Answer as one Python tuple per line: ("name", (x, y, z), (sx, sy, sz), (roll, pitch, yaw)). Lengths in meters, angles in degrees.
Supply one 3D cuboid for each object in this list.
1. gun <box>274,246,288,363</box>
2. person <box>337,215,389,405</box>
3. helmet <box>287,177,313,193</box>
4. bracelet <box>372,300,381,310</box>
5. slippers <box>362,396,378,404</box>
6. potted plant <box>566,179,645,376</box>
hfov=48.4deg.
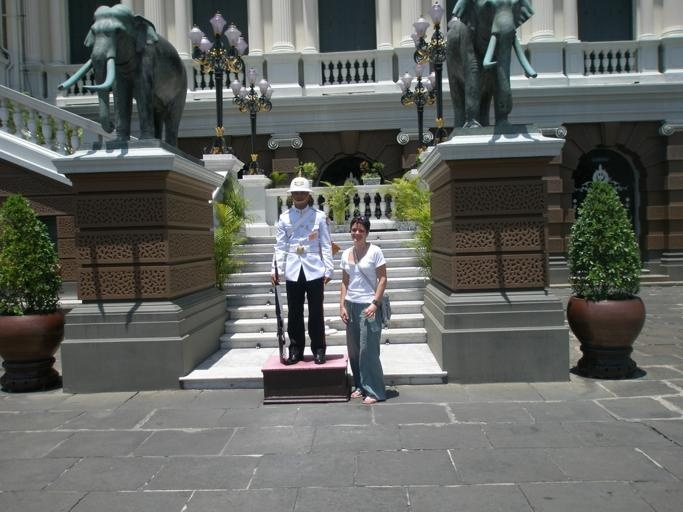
("gun", (-0.906, 0.755, 11.196), (0.154, 1.533, 0.793), (-2, 4, -5))
("person", (0.313, 0.762, 10.751), (0.645, 2.595, 0.409), (-1, 4, 9))
("helmet", (-0.596, -1.077, 11.092), (0.272, 0.209, 0.378), (0, -4, 1))
("bracelet", (0.494, 0.689, 10.554), (0.099, 0.108, 0.105), (1, -2, 2))
("slippers", (0.413, 2.029, 10.702), (0.156, 0.074, 0.090), (8, -10, -16))
("potted plant", (4.025, 0.351, 11.524), (0.795, 2.982, 0.948), (-5, 5, -35))
